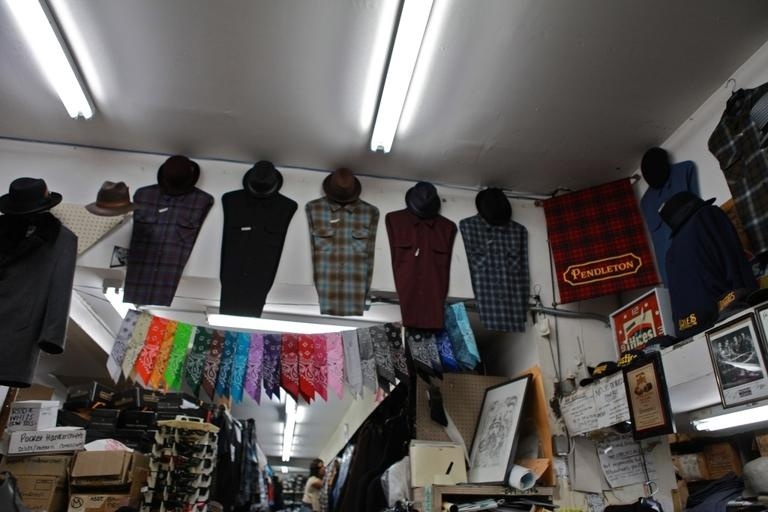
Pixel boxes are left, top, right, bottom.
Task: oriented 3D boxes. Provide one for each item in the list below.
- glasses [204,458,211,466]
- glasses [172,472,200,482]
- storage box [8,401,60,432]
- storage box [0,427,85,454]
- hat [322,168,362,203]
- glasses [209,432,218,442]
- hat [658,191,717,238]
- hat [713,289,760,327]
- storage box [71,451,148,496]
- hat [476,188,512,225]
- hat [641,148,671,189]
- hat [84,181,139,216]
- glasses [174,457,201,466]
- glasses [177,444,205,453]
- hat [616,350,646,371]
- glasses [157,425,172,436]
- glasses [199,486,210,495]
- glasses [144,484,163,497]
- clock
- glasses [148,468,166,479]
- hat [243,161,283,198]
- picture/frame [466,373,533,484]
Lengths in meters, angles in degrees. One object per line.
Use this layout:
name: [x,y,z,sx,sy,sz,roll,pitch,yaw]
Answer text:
glasses: [-1.084,1.282,2.955,0.014,0.051,0.068,-7,-27,16]
glasses: [-1.189,1.339,2.882,0.149,0.049,0.035,5,-26,-8]
storage box: [-2.633,1.192,3.617,0.231,0.169,0.237,0,-9,3]
storage box: [-2.458,1.356,3.497,0.289,0.105,0.286,6,-15,-36]
hat: [-0.404,-0.685,4.703,0.395,0.289,0.238,4,-26,-7]
glasses: [-1.076,1.146,3.036,0.057,0.058,0.105,5,-8,-21]
hat: [2.401,-0.303,3.877,0.321,0.142,0.364,-39,-15,-41]
hat: [2.295,0.308,3.109,0.280,0.087,0.203,-43,-4,17]
storage box: [-1.993,1.586,3.499,0.490,0.286,0.273,16,-30,-28]
hat: [1.133,-0.498,4.957,0.324,0.396,0.144,-24,-9,-4]
hat: [2.552,-0.830,4.489,0.145,0.381,0.234,19,-31,-31]
hat: [-2.494,-0.508,4.412,0.307,0.202,0.389,20,21,39]
glasses: [-1.186,1.240,2.927,0.159,0.054,0.068,3,8,-14]
glasses: [-1.178,1.177,2.916,0.149,0.053,0.041,1,-26,0]
hat: [1.886,0.824,3.660,0.155,0.046,0.140,-31,-8,18]
glasses: [-1.354,1.075,2.964,0.068,0.056,0.059,-11,-7,7]
glasses: [-1.112,1.457,2.959,0.055,0.049,0.045,13,-12,-38]
glasses: [-1.377,1.408,2.849,0.129,0.060,0.041,-3,-26,8]
clock: [2.133,0.582,3.946,0.208,0.555,0.583,3,-21,-18]
glasses: [-1.350,1.309,2.855,0.066,0.068,0.018,1,-6,-8]
hat: [-1.165,-0.726,4.683,0.445,0.462,0.145,-8,-56,-9]
picture/frame: [0.918,1.404,3.858,0.374,0.786,0.697,5,-26,-7]
